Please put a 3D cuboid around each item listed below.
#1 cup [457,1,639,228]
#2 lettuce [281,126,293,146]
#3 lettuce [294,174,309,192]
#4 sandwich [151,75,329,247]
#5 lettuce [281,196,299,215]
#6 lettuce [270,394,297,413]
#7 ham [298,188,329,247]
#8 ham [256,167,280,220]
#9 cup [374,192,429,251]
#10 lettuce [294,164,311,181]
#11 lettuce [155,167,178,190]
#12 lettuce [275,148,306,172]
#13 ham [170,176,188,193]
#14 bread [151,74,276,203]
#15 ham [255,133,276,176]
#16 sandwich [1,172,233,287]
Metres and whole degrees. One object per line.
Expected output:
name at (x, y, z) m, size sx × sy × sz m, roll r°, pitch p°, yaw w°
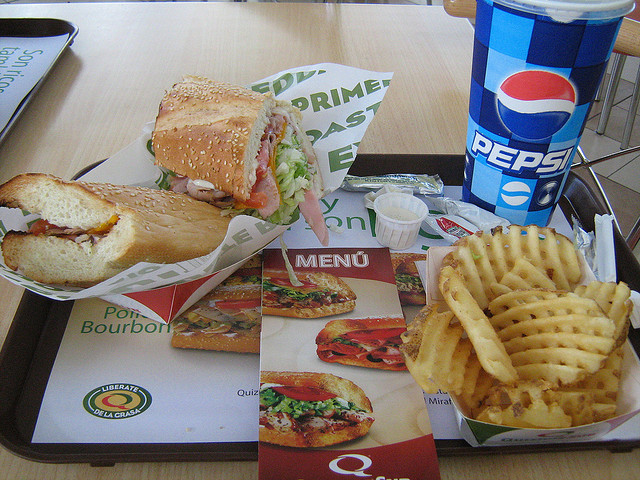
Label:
cup at (0.519, -0.316, 1.278) m, size 0.322 × 0.575 × 0.325 m, roll -3°, pitch 57°, yaw 4°
lettuce at (-0.095, -0.309, 1.479) m, size 0.014 × 0.039 × 0.056 m, roll -1°, pitch 72°, yaw 51°
lettuce at (-0.055, -0.160, 1.404) m, size 0.045 × 0.017 × 0.038 m, roll -1°, pitch 72°, yaw -1°
sandwich at (-0.221, -0.268, 1.596) m, size 0.553 × 0.466 × 0.470 m, roll 8°, pitch 24°, yaw 18°
lettuce at (-0.087, -0.097, 1.416) m, size 0.048 × 0.043 × 0.016 m, roll -2°, pitch 24°, yaw 3°
lettuce at (-0.083, 0.355, 1.075) m, size 0.031 × 0.012 × 0.031 m, roll 26°, pitch 45°, yaw 30°
ham at (-0.016, -0.071, 1.451) m, size 0.063 × 0.046 × 0.191 m, roll -24°, pitch 75°, yaw 6°
ham at (-0.139, -0.127, 1.326) m, size 0.084 × 0.026 × 0.120 m, roll -8°, pitch 88°, yaw -6°
cup at (0.220, -0.060, 1.414) m, size 0.179 × 0.118 × 0.164 m, roll 2°, pitch 45°, yaw -2°
lettuce at (-0.051, -0.196, 1.432) m, size 0.042 × 0.018 × 0.039 m, roll 21°, pitch 57°, yaw -11°
lettuce at (-0.473, -0.190, 1.525) m, size 0.060 × 0.057 × 0.017 m, roll -25°, pitch 33°, yaw -8°
lettuce at (-0.089, -0.237, 1.424) m, size 0.070 × 0.027 × 0.069 m, roll 31°, pitch 46°, yaw 22°
ham at (-0.413, -0.170, 1.445) m, size 0.054 × 0.018 × 0.050 m, roll -3°, pitch 48°, yaw 4°
bread at (-0.294, -0.324, 1.407) m, size 0.379 × 0.102 × 0.324 m, roll 6°, pitch 84°, yaw 16°
ham at (-0.158, -0.244, 1.430) m, size 0.068 × 0.027 × 0.109 m, roll 15°, pitch 73°, yaw -13°
sandwich at (-0.488, 0.022, 1.294) m, size 0.518 × 0.199 × 0.311 m, roll 3°, pitch 39°, yaw -15°
